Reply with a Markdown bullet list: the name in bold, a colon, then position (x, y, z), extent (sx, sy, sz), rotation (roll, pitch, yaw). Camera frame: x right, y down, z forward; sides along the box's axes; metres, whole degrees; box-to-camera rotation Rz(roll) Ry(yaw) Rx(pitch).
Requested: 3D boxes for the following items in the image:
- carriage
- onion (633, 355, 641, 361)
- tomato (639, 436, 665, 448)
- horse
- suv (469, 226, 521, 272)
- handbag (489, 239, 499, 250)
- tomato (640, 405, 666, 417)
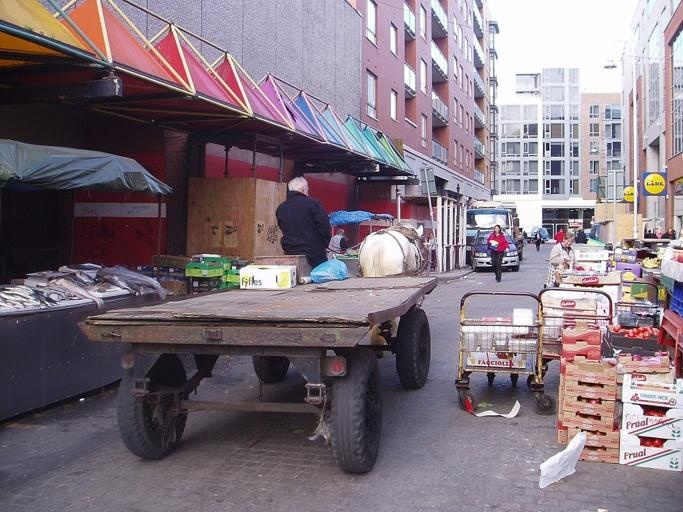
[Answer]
- **carriage**: position (-0.845, 0.823, 9.201), extent (4.407, 2.047, 7.417), rotation (1, 6, 15)
- **onion**: position (3.223, 1.094, 6.550), extent (0.056, 0.046, 0.094), rotation (2, 4, 22)
- **tomato**: position (3.135, 1.859, 6.062), extent (0.131, 0.059, 0.167), rotation (1, -1, 5)
- **horse**: position (0.805, 0.545, 11.303), extent (1.078, 2.160, 1.263), rotation (8, 5, 10)
- **suv**: position (7.322, -0.288, 29.478), extent (2.275, 2.199, 2.819), rotation (4, 5, 14)
- **handbag**: position (5.908, -0.453, 23.285), extent (0.292, 0.347, 0.320), rotation (12, 11, 19)
- **tomato**: position (3.167, 1.545, 6.091), extent (0.228, 0.086, 0.163), rotation (3, 7, 29)
